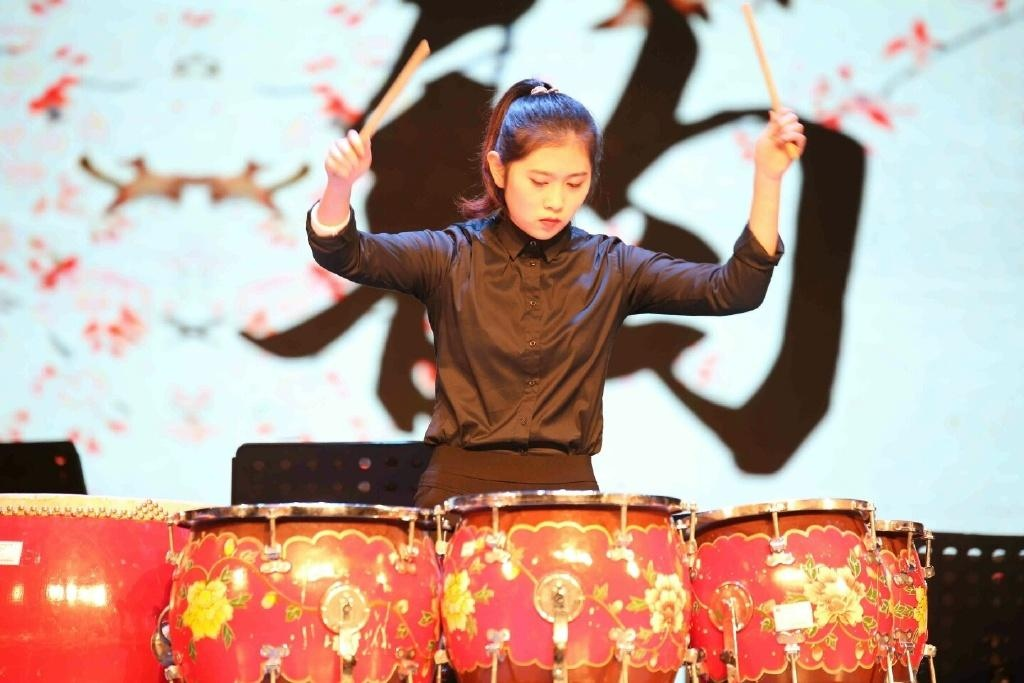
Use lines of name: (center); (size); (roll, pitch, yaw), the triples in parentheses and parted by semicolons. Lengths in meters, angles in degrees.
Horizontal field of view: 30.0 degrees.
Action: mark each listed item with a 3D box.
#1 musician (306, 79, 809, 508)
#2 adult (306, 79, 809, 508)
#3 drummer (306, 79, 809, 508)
musician: (0.202, -0.103, 7.013); (1.337, 2.149, 0.698); (5, -18, -12)
adult: (0.202, -0.103, 7.013); (1.337, 2.149, 0.698); (5, -18, -12)
drummer: (0.202, -0.103, 7.013); (1.337, 2.149, 0.698); (5, -18, -12)
